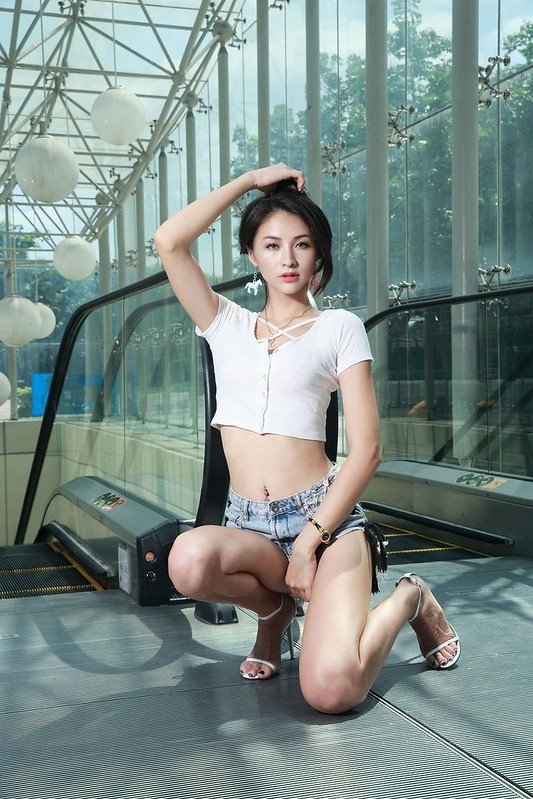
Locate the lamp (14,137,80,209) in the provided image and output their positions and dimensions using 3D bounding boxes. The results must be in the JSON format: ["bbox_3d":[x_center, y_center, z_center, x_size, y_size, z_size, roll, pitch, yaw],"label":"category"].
[{"bbox_3d":[-1.967,-2.075,6.193,0.588,0.653,0.576,3,2,2],"label":"lamp"}]

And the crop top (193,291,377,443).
[{"bbox_3d":[0.023,-0.075,1.594,0.437,0.319,0.233,7,3,24],"label":"crop top"}]

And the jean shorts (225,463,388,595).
[{"bbox_3d":[0.087,0.338,1.596,0.478,0.288,0.251,-9,-33,40],"label":"jean shorts"}]

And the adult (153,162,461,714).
[{"bbox_3d":[0.071,0.030,1.602,0.543,1.269,0.575,-4,-5,36],"label":"adult"}]

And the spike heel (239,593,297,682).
[{"bbox_3d":[0.009,0.585,1.578,0.079,0.115,0.244,-3,-2,11],"label":"spike heel"}]

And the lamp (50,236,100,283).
[{"bbox_3d":[-2.787,-2.036,9.567,0.656,0.732,0.642,-2,11,-3],"label":"lamp"}]

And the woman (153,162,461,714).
[{"bbox_3d":[0.071,0.030,1.602,0.543,1.269,0.576,-4,-5,36],"label":"woman"}]
